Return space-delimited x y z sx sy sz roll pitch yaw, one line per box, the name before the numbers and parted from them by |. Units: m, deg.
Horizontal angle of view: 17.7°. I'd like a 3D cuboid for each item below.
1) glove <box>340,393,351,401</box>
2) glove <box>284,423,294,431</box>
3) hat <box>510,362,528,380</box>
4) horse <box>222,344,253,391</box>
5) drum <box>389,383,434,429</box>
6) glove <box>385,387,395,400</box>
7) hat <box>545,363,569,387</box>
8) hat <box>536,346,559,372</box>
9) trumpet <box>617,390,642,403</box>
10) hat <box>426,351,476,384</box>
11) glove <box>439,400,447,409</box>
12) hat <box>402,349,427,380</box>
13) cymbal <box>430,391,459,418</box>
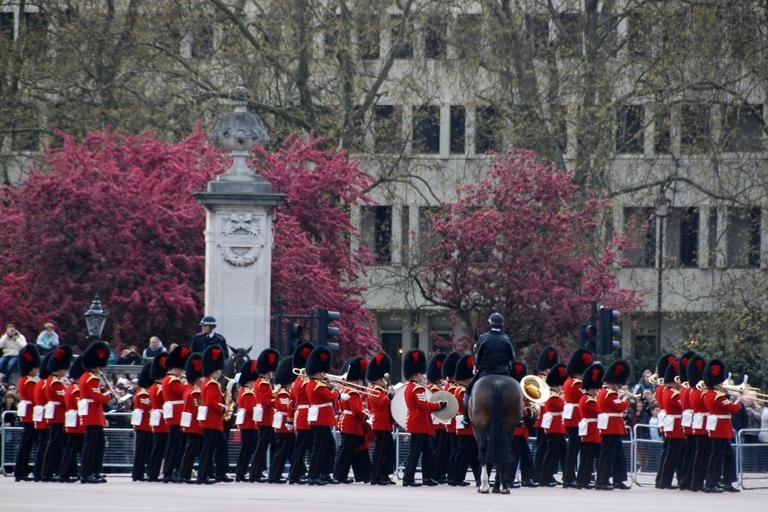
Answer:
glove | -0.963 3.636 63.395 0.232 0.196 0.076 -2 -5 11
glove | -2.410 4.439 63.697 0.193 0.171 0.165 2 22 17
hat | 3.510 2.984 63.670 0.385 0.527 0.175 2 -4 -11
horse | -4.072 2.924 66.556 0.422 1.523 0.791 13 19 1
drum | 0.605 3.813 64.104 1.215 1.315 0.753 1 4 -3
glove | 0.196 3.559 63.762 0.266 0.248 0.264 -2 -8 12
hat | 4.561 3.115 64.191 0.418 0.434 0.682 14 16 36
hat | 4.305 2.750 64.574 0.452 0.709 0.304 9 1 -11
trumpet | 6.564 3.784 66.025 0.545 0.276 0.298 19 -46 -17
hat | 1.858 3.025 64.252 0.702 0.572 1.108 28 -42 -32
glove | 1.542 3.834 63.397 0.153 0.211 0.075 2 -8 0
hat | 0.815 2.817 63.939 0.565 0.818 0.654 -1 -5 0
cymbal | 1.580 3.845 63.515 0.700 0.754 0.283 -1 -5 5
